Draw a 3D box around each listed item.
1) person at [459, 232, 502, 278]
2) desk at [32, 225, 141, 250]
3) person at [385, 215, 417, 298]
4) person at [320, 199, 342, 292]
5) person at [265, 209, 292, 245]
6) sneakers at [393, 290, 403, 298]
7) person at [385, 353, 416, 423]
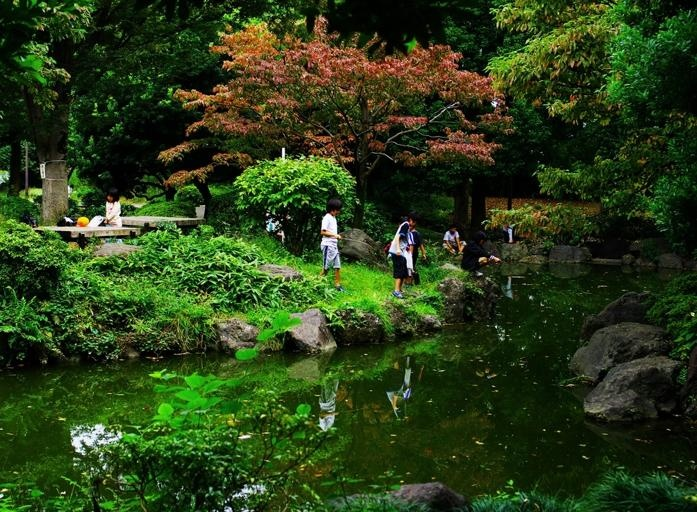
[{"bbox_3d":[2.782,-0.047,15.716,0.631,0.958,1.257,1,0,8],"label":"person"},{"bbox_3d":[-5.463,-0.416,15.593,1.037,0.447,2.712,1,0,6],"label":"desk"},{"bbox_3d":[1.097,-0.002,15.048,0.521,1.704,0.883,1,1,7],"label":"person"},{"bbox_3d":[-0.315,-0.240,14.678,0.419,1.816,0.856,1,1,-1],"label":"person"},{"bbox_3d":[-1.672,-0.690,17.257,0.690,0.892,0.816,1,-13,-6],"label":"person"},{"bbox_3d":[1.027,0.782,14.758,0.256,0.113,0.090,15,14,37],"label":"sneakers"},{"bbox_3d":[0.757,1.927,10.582,0.221,0.714,0.288,9,-36,6],"label":"person"}]
